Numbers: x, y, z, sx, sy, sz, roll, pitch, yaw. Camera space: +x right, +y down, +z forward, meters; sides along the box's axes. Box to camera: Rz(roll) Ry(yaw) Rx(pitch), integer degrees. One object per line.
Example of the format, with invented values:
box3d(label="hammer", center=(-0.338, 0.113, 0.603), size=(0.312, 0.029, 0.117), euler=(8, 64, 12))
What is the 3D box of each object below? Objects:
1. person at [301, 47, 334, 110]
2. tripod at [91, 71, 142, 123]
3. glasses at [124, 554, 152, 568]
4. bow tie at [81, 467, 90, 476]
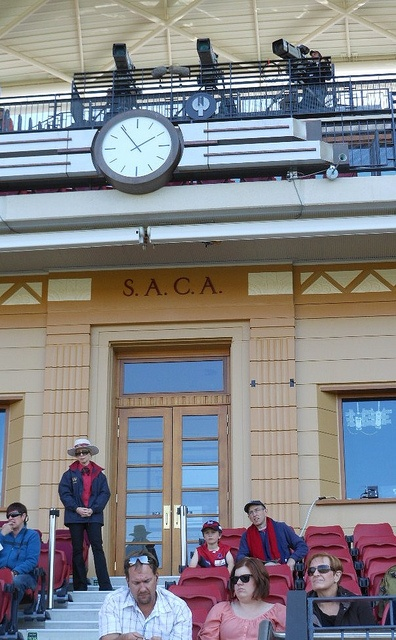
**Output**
box3d(label="person", center=(1.533, -3.166, 10.397), size=(0.411, 0.876, 0.117), euler=(-5, -9, 9))
box3d(label="tripod", center=(-1.065, -3.010, 10.394), size=(0.392, 0.549, 0.399), euler=(15, 6, 8))
box3d(label="glasses", center=(-0.318, 1.293, 4.193), size=(0.115, 0.058, 0.062), euler=(0, -11, -3))
box3d(label="bow tie", center=(-1.078, 1.460, 7.530), size=(0.057, 0.067, 0.014), euler=(5, -33, -20))
